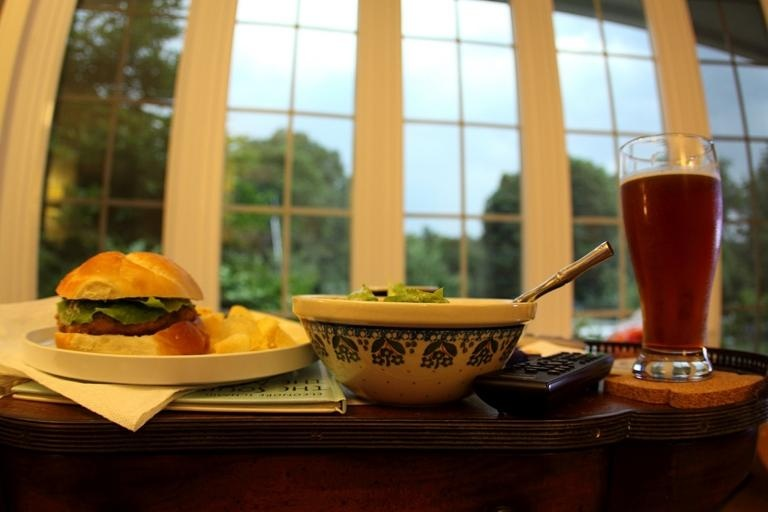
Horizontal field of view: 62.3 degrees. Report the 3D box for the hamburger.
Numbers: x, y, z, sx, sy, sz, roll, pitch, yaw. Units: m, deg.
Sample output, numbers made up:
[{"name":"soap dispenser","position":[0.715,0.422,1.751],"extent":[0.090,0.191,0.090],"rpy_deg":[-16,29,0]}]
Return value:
[{"name":"hamburger","position":[-0.441,0.080,1.144],"extent":[0.218,0.126,0.210],"rpy_deg":[2,-1,-30]}]
